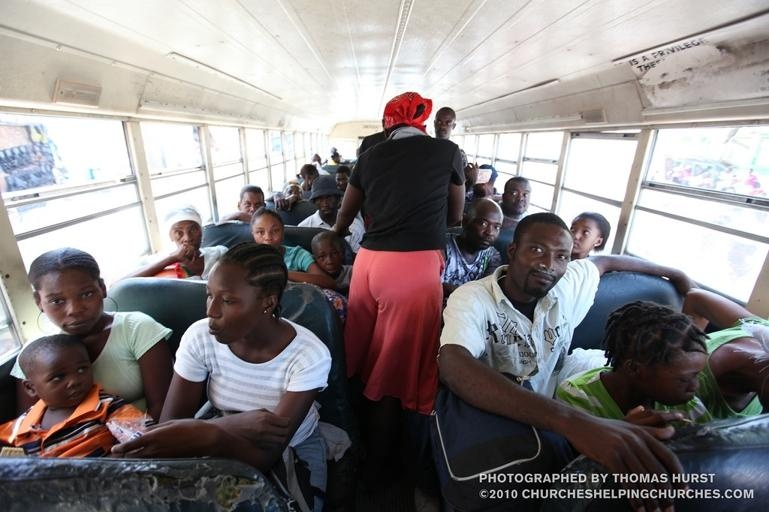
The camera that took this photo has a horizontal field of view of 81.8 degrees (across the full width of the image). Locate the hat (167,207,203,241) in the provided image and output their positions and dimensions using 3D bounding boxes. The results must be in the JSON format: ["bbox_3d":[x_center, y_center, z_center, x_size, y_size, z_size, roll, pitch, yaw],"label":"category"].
[{"bbox_3d":[-1.866,-0.275,4.148,0.308,0.223,0.303,-7,-5,-8],"label":"hat"}]

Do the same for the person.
[{"bbox_3d":[0.321,0.350,2.603,2.858,1.146,1.587,2,15,5],"label":"person"}]
